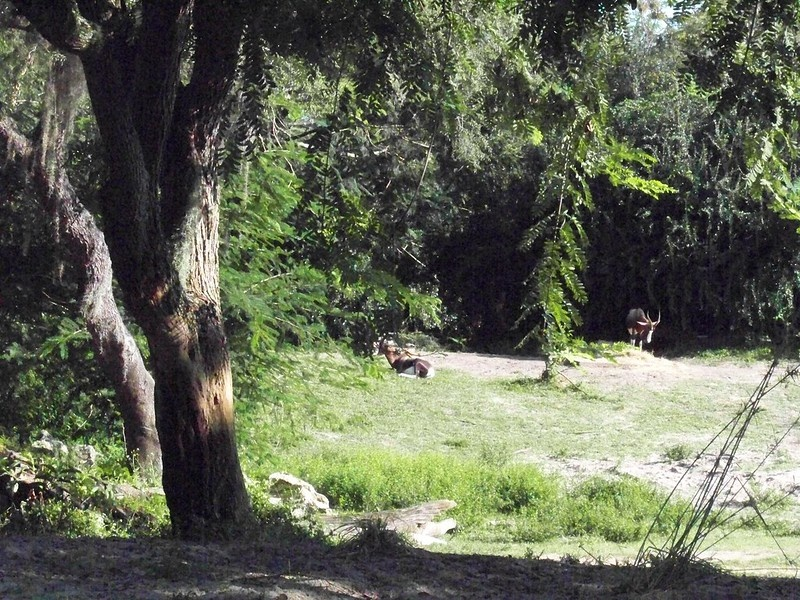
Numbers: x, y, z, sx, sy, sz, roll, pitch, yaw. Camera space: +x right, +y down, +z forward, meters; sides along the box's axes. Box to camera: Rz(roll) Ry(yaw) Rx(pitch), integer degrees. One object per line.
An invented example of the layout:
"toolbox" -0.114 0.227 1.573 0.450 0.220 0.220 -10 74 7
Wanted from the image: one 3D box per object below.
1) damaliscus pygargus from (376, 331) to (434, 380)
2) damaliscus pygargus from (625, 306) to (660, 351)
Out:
"damaliscus pygargus" 0.216 1.155 29.333 1.010 0.805 1.512 -1 9 1
"damaliscus pygargus" 5.233 0.648 30.671 0.387 0.858 1.001 0 12 -30
